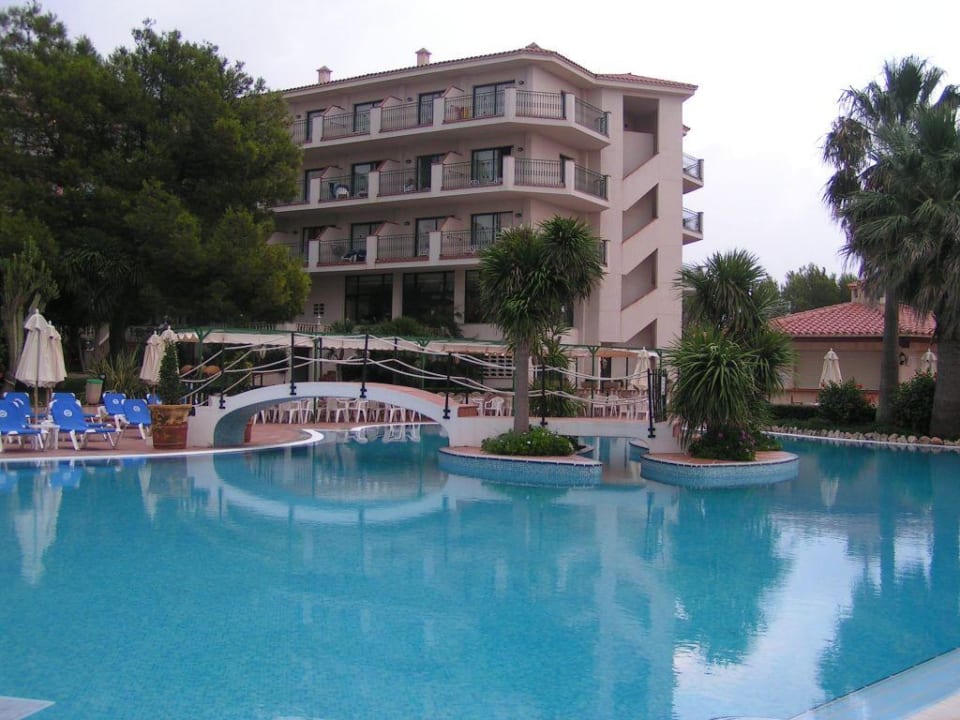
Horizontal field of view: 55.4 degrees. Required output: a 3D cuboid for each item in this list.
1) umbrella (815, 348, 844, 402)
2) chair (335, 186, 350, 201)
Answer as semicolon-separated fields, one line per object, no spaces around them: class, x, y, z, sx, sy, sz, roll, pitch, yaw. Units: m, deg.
umbrella;12.426;0.311;32.351;0.760;1.569;1.869;1;-5;21
chair;-6.402;-7.697;42.433;0.596;0.616;0.601;-1;5;-14
